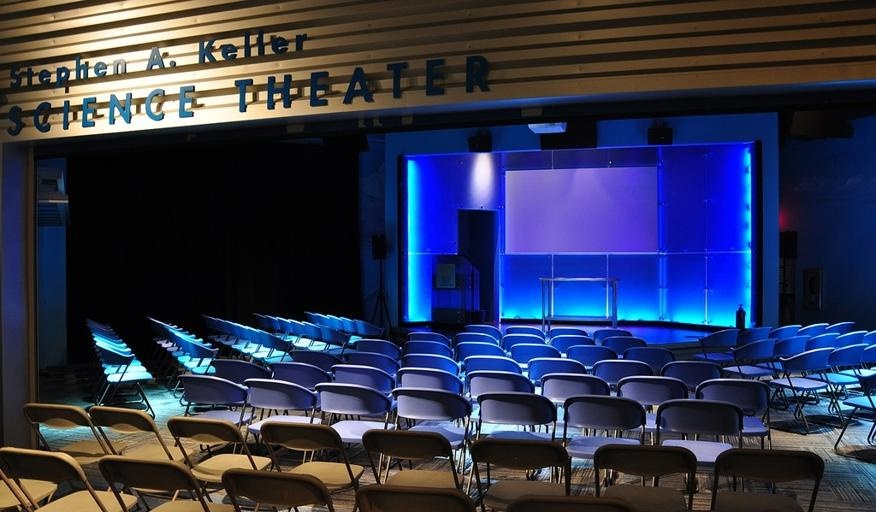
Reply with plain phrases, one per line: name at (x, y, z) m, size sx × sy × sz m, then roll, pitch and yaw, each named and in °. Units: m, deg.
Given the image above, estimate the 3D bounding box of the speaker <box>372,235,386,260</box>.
speaker at (-1.435, -0.220, 18.515) m, size 0.374 × 0.606 × 0.304 m, roll 2°, pitch -7°, yaw -12°
